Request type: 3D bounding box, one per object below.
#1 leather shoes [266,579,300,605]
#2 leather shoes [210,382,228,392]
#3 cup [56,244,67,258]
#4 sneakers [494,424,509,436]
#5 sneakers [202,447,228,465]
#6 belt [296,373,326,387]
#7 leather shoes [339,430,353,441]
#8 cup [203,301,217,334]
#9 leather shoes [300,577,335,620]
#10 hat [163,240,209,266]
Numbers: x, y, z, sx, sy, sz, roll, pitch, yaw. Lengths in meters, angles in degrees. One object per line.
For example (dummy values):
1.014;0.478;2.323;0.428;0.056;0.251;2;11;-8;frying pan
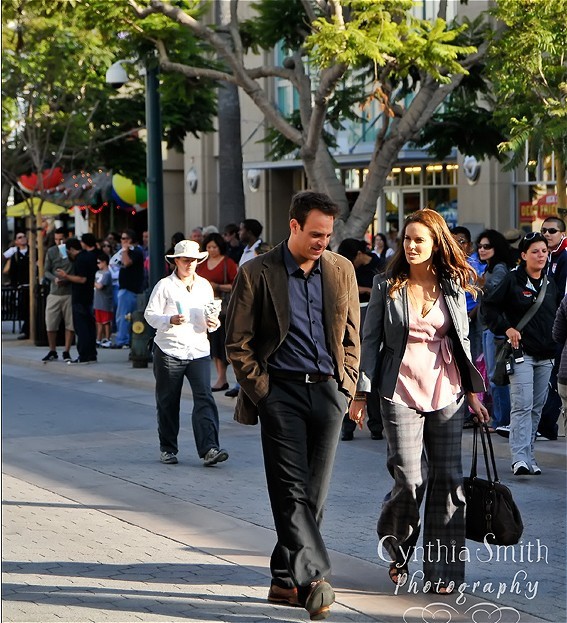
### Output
0.004;1.511;6.860;0.180;0.076;0.082;-1;0;25;leather shoes
-0.713;0.873;14.718;0.221;0.090;0.074;2;-11;-28;leather shoes
-3.191;-0.865;18.771;0.175;0.195;0.226;-11;-10;-11;cup
1.932;1.063;11.438;0.084;0.104;0.232;1;-14;7;sneakers
-0.535;1.164;10.295;0.223;0.123;0.096;-23;-28;33;sneakers
0.156;0.361;6.876;0.166;0.065;0.031;-3;5;-25;belt
0.559;1.130;11.655;0.110;0.110;0.067;-2;-6;31;leather shoes
-0.545;0.041;10.177;0.067;0.208;0.148;-2;2;-36;cup
0.172;1.494;6.689;0.115;0.214;0.104;14;-3;-36;leather shoes
-0.764;-0.476;10.293;0.245;0.113;0.261;-2;-6;0;hat
